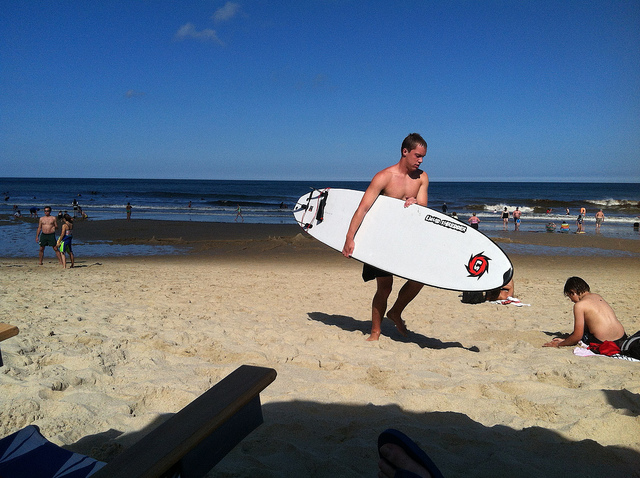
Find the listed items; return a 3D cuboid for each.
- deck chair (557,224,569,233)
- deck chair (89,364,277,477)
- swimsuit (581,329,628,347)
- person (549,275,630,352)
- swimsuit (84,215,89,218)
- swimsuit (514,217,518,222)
[{"bbox_3d":[10.258,-0.496,22.388,0.294,0.353,1.121,4,7,23],"label":"deck chair"},{"bbox_3d":[-0.707,1.042,2.962,1.000,0.485,0.228,-4,9,-41],"label":"deck chair"},{"bbox_3d":[2.805,0.997,5.336,0.272,0.095,0.196,4,3,26],"label":"swimsuit"},{"bbox_3d":[2.783,0.769,5.480,0.700,0.698,0.590,5,8,29],"label":"person"},{"bbox_3d":[-10.998,-1.072,25.115,0.194,0.039,0.190,18,39,29],"label":"swimsuit"},{"bbox_3d":[8.544,-0.891,23.304,0.135,0.202,0.201,4,7,18],"label":"swimsuit"}]
